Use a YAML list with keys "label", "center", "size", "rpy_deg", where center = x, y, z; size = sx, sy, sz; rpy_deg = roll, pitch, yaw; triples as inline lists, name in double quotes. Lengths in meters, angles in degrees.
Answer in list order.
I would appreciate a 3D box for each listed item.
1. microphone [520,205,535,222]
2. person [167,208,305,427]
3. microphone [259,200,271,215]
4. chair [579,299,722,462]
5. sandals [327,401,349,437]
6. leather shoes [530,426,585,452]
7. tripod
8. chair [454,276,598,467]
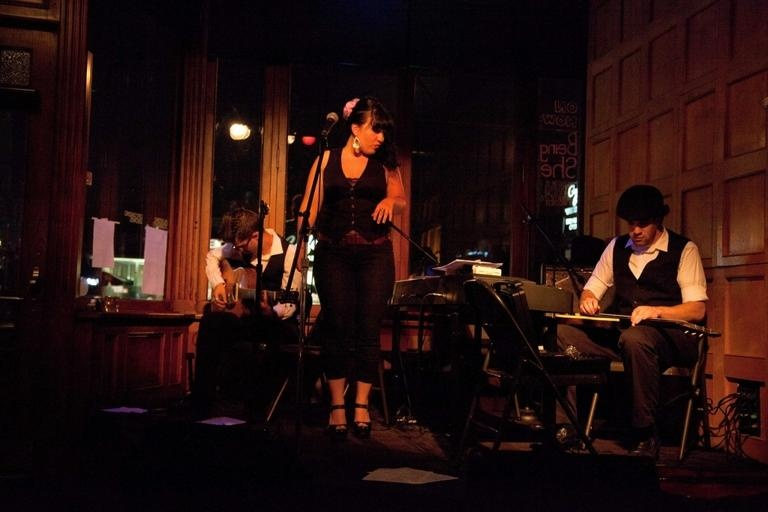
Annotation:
- label: "microphone"
  center: [1.267, -0.330, 6.168]
  size: [0.084, 0.086, 0.604]
  rpy_deg: [-3, -10, 14]
- label: "person"
  center: [-1.065, 0.349, 5.551]
  size: [0.345, 0.908, 1.736]
  rpy_deg: [8, 21, -7]
- label: "microphone"
  center: [-0.751, -0.296, 4.377]
  size: [0.071, 0.101, 0.035]
  rpy_deg: [-1, 0, -3]
- label: "chair"
  center: [1.763, 0.879, 4.855]
  size: [0.962, 1.174, 0.946]
  rpy_deg: [22, -21, -37]
- label: "sandals"
  center: [-0.314, 1.092, 4.681]
  size: [0.152, 0.213, 0.502]
  rpy_deg: [1, -15, -7]
- label: "leather shoes"
  center: [1.181, 1.246, 4.777]
  size: [0.335, 0.170, 0.227]
  rpy_deg: [0, -8, -12]
- label: "tripod"
  center: [-0.675, 0.361, 5.242]
  size: [0.165, 2.279, 0.302]
  rpy_deg: [-3, -22, 17]
- label: "chair"
  center: [0.939, 0.729, 4.437]
  size: [0.874, 1.076, 0.657]
  rpy_deg: [1, -5, -8]
